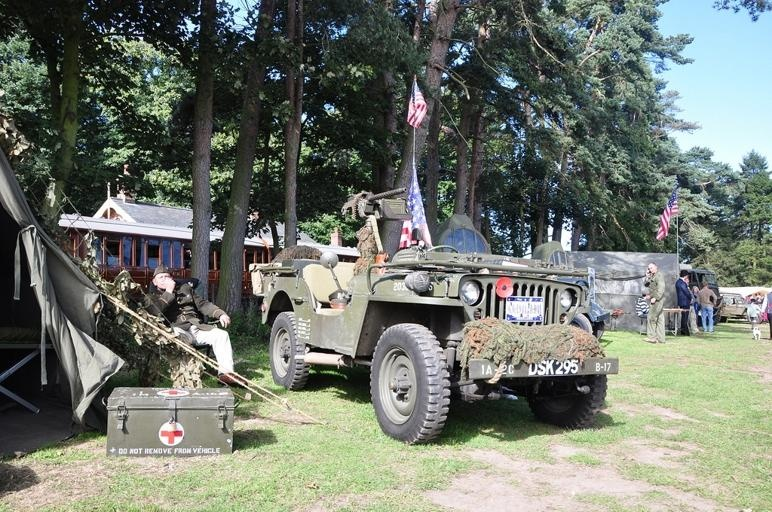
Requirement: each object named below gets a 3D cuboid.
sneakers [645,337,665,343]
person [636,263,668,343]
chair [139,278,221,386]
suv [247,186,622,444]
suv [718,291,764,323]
[{"bbox_3d":[8.156,2.572,23.391,0.611,0.273,0.209,-11,-11,43],"label":"sneakers"},{"bbox_3d":[8.176,1.422,23.314,0.829,2.404,0.745,11,14,41],"label":"person"},{"bbox_3d":[-3.409,1.004,13.305,1.641,1.503,0.950,10,13,35],"label":"chair"},{"bbox_3d":[0.510,1.172,13.728,3.439,3.588,5.832,4,-5,-33],"label":"suv"},{"bbox_3d":[16.969,2.503,36.969,2.360,1.510,1.499,-1,-4,-9],"label":"suv"}]
